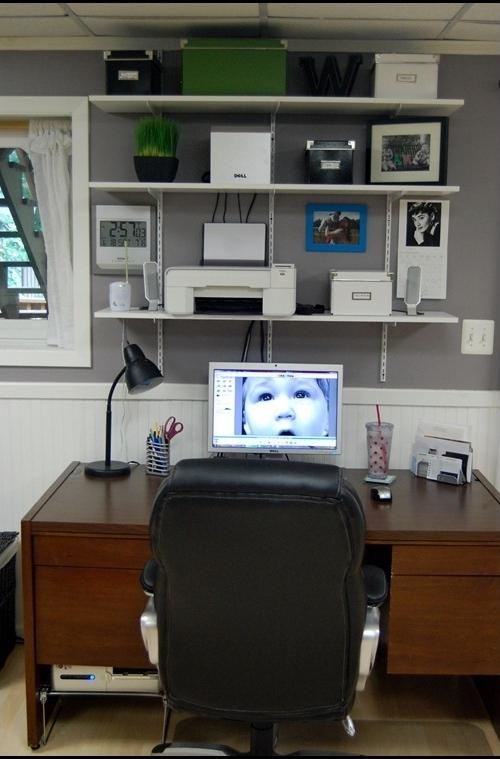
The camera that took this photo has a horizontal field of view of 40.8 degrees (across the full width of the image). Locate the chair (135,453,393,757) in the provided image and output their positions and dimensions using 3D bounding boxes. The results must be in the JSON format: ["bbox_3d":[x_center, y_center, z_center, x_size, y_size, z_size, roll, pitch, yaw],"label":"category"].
[{"bbox_3d":[0.008,0.393,1.427,0.475,0.762,0.483,2,10,3],"label":"chair"}]

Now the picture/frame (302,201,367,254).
[{"bbox_3d":[0.289,-0.524,2.287,0.151,0.138,0.007,0,5,-3],"label":"picture/frame"}]

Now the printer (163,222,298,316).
[{"bbox_3d":[-0.076,-0.355,2.161,0.393,0.301,0.300,-1,8,-8],"label":"printer"}]

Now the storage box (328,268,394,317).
[{"bbox_3d":[0.346,-0.266,2.103,0.145,0.110,0.151,1,6,1],"label":"storage box"}]

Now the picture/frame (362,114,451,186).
[{"bbox_3d":[0.502,-0.727,2.141,0.234,0.217,0.019,2,8,16],"label":"picture/frame"}]

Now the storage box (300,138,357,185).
[{"bbox_3d":[0.250,-0.670,2.098,0.182,0.138,0.128,1,1,2],"label":"storage box"}]

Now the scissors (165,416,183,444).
[{"bbox_3d":[-0.264,0.174,2.300,0.041,0.008,0.111,-7,46,42],"label":"scissors"}]

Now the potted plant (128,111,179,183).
[{"bbox_3d":[-0.286,-0.722,2.119,0.130,0.218,0.133,1,8,9],"label":"potted plant"}]

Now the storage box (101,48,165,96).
[{"bbox_3d":[-0.364,-0.915,2.074,0.151,0.124,0.162,-1,19,-3],"label":"storage box"}]
